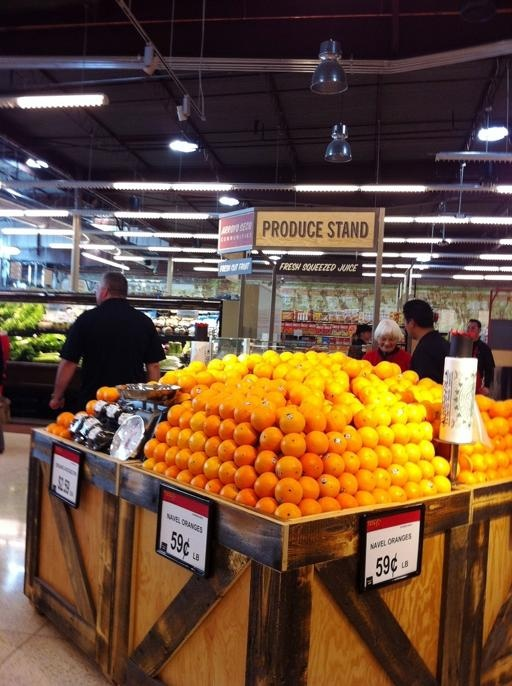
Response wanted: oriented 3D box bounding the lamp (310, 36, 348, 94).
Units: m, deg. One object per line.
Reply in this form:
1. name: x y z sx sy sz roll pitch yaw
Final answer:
1. lamp: 0.707 -2.653 4.916 0.310 0.556 0.398 3 3 3

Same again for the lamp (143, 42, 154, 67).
1. lamp: -1.018 -2.749 4.981 0.085 0.192 0.233 2 4 -15

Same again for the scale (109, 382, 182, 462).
1. scale: -0.401 0.309 1.929 0.237 0.278 0.207 -2 -16 35

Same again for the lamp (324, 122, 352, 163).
1. lamp: 1.181 -2.847 7.320 0.307 0.729 0.920 3 4 7

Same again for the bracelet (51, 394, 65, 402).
1. bracelet: -1.156 0.321 3.013 0.049 0.036 0.047 1 6 7
